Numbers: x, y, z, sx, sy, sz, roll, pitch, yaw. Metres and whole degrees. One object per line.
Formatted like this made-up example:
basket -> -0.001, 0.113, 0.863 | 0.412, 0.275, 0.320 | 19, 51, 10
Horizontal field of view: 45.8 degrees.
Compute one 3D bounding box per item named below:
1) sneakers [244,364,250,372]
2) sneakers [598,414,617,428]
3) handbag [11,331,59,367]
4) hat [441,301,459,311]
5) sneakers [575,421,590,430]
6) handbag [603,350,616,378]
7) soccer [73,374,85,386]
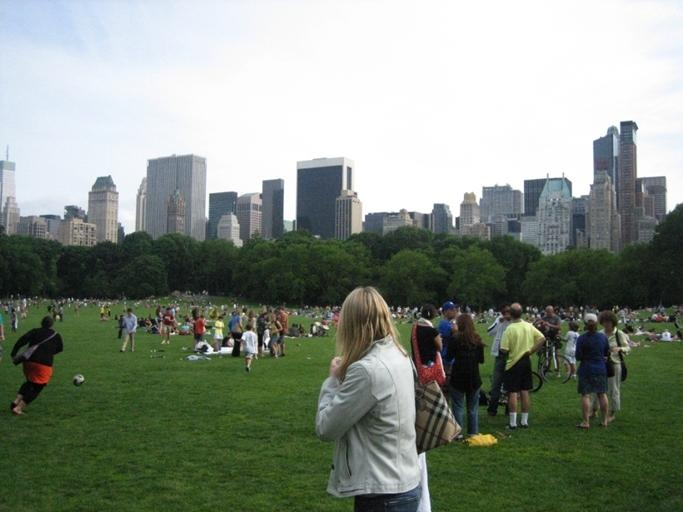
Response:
sneakers -> -3.170, 3.763, 27.091 | 0.173, 0.323, 0.169 | -1, -10, 6
sneakers -> 6.651, 4.131, 20.357 | 0.207, 0.285, 0.659 | -22, -31, 35
handbag -> -7.864, 2.366, 21.025 | 1.153, 0.941, 0.703 | 3, -2, -21
hat -> 2.761, 1.302, 20.413 | 0.375, 0.208, 0.282 | -6, 5, -16
sneakers -> 5.965, 4.179, 20.033 | 0.144, 0.205, 0.438 | 2, 3, -11
handbag -> 6.716, 2.660, 20.222 | 0.206, 0.703, 0.669 | 1, -2, 21
soccer -> -7.805, 3.678, 24.022 | 0.350, 0.378, 0.364 | 2, 2, 1
